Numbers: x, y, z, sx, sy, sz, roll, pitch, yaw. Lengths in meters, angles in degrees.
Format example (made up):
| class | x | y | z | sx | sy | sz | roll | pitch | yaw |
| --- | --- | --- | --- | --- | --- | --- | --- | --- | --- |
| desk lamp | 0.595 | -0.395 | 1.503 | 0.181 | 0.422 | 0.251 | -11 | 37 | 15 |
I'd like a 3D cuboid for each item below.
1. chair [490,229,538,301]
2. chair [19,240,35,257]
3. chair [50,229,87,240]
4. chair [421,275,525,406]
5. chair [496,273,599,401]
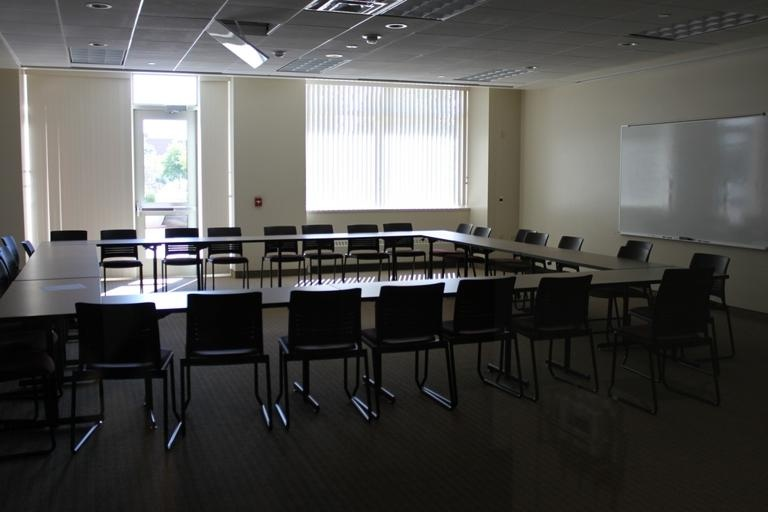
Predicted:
| class | x | y | z | sx | sy | sz | roll | pitch | yaw |
| --- | --- | --- | --- | --- | --- | --- | --- | --- | --- |
| chair | 2.210 | -0.020 | 9.206 | 0.843 | 1.352 | 0.793 | 1 | 1 | -29 |
| chair | -5.357 | -0.092 | 8.154 | 0.183 | 0.281 | 0.160 | -7 | 26 | -17 |
| chair | -5.083 | -0.320 | 8.785 | 0.462 | 0.137 | 0.289 | 0 | 13 | -1 |
| chair | 0.924 | 0.800 | 5.766 | 1.142 | 1.592 | 1.145 | -1 | 2 | -13 |
| chair | 1.457 | 0.716 | 5.781 | 1.041 | 1.648 | 1.177 | -1 | 4 | -12 |
